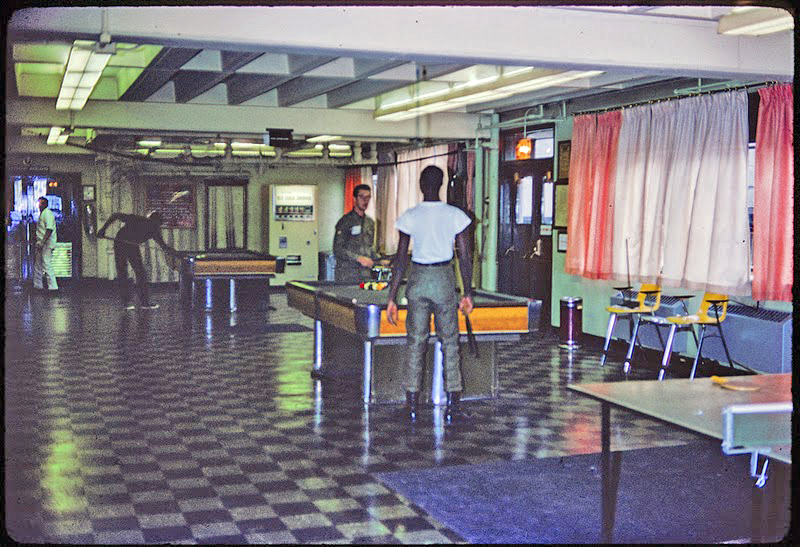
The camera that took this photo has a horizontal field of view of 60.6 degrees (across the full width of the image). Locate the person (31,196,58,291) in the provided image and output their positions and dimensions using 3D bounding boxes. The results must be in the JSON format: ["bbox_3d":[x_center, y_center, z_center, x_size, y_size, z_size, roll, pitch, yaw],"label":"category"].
[{"bbox_3d":[-8.228,-0.647,15.625,0.581,2.427,0.614,-5,16,-16],"label":"person"}]

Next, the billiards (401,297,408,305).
[{"bbox_3d":[0.024,0.288,7.060,0.082,0.087,0.079,2,6,-16],"label":"billiards"}]

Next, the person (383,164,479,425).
[{"bbox_3d":[0.292,0.190,6.695,0.902,2.452,0.481,0,7,1],"label":"person"}]

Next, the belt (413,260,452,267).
[{"bbox_3d":[0.288,-0.095,6.508,0.351,0.051,0.112,0,6,-1],"label":"belt"}]

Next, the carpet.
[{"bbox_3d":[1.330,1.667,4.998,1.474,0.008,1.256,-2,2,-19],"label":"carpet"}]

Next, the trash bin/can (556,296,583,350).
[{"bbox_3d":[2.528,0.743,10.154,0.312,0.733,0.428,2,6,12],"label":"trash bin/can"}]

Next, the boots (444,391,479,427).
[{"bbox_3d":[0.564,1.313,6.842,0.412,0.362,0.204,-4,8,-29],"label":"boots"}]

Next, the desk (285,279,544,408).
[{"bbox_3d":[0.125,0.750,7.356,1.546,0.875,2.289,0,4,-23],"label":"desk"}]
